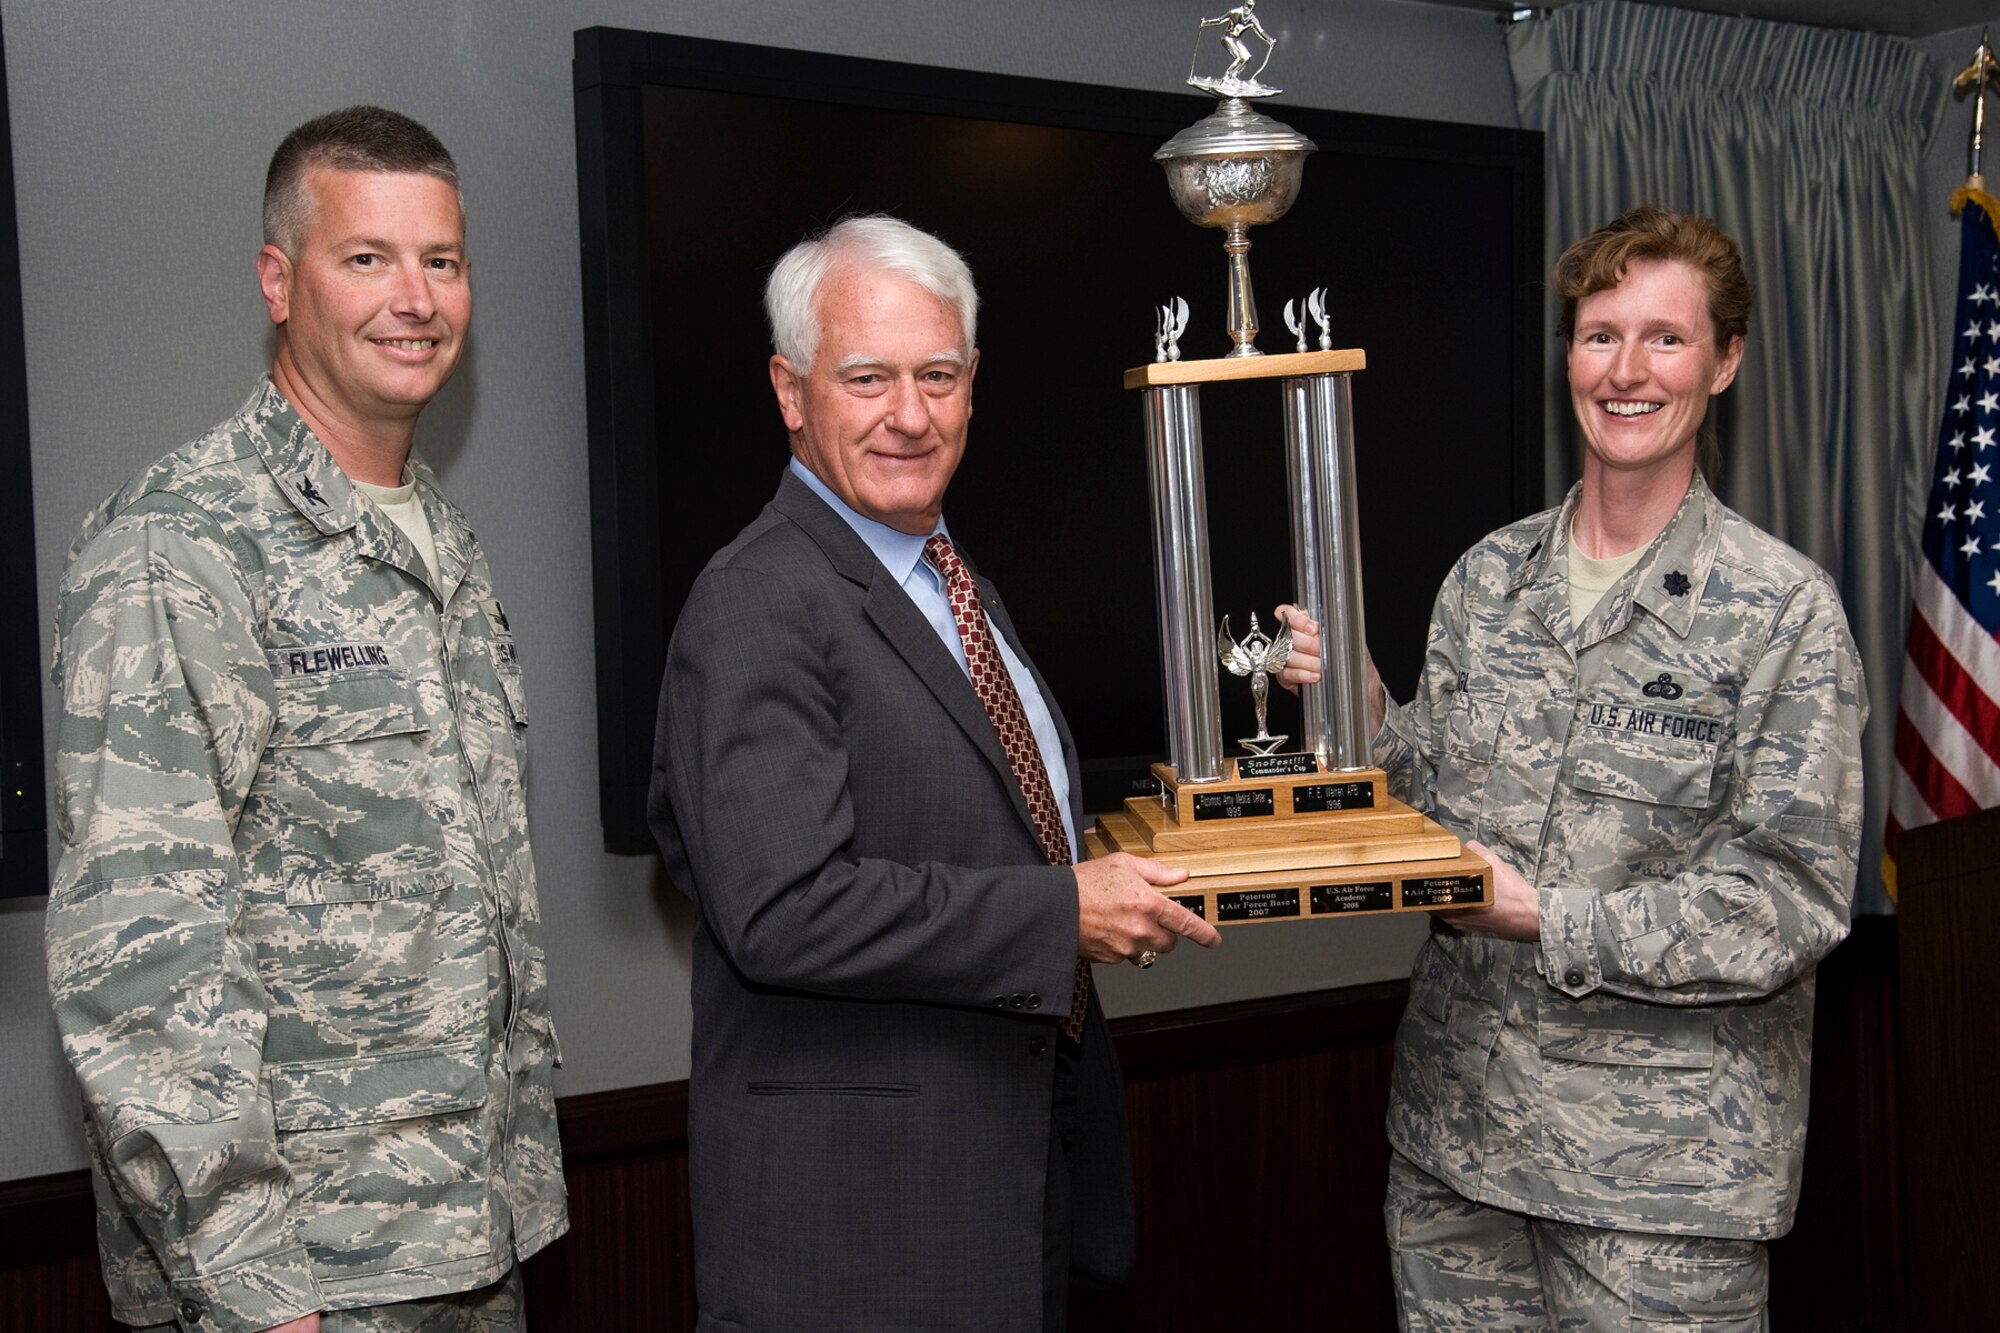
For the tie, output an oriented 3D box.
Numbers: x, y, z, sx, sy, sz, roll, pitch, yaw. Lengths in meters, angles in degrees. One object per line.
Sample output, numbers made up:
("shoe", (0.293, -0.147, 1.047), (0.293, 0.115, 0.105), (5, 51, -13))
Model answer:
("tie", (-0.017, 0.152, 2.197), (0.209, 0.668, 0.205), (3, 6, -8))
